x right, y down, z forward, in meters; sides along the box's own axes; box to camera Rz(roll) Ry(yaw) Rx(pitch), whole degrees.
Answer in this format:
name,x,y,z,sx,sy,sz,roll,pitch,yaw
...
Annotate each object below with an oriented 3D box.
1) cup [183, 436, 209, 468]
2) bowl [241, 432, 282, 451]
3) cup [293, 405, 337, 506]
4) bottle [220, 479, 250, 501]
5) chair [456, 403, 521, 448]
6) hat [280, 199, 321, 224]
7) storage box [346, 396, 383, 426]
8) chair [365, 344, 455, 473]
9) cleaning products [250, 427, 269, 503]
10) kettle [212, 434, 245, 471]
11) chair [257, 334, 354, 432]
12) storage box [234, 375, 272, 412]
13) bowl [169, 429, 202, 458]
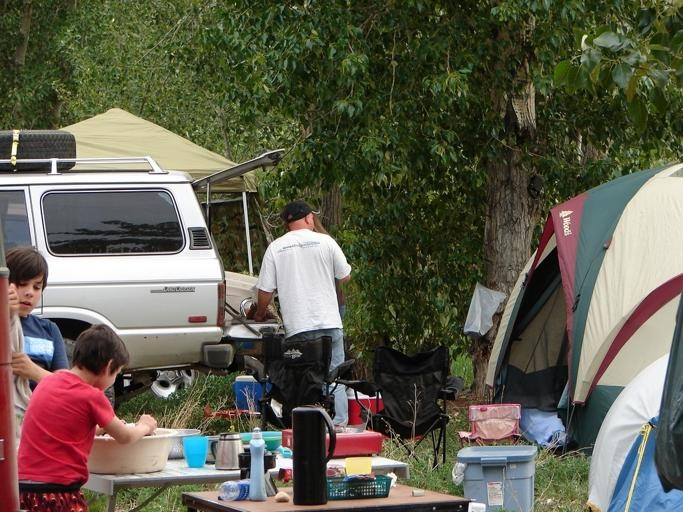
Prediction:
name,x,y,z,sx,sy,sz,roll,pitch,yaw
cup,-0.948,1.284,6.687,0.163,0.212,0.179,-1,-8,0
bowl,-0.492,1.232,6.861,0.185,0.069,0.205,-1,1,24
cup,-0.163,1.168,5.938,0.242,0.526,0.210,0,8,-2
bottle,-0.627,1.385,6.080,0.119,0.133,0.192,-19,-7,14
chair,1.537,1.705,10.679,0.446,0.337,0.486,-3,-4,-10
hat,-0.411,-0.410,10.274,0.269,0.154,0.202,-27,23,-24
storage box,0.234,1.606,10.659,0.245,0.381,0.465,-3,-4,37
chair,0.706,1.571,10.369,1.023,1.487,0.974,-1,-8,2
cleaning products,-0.506,1.240,6.088,0.159,0.422,0.164,-2,4,-32
kettle,-0.740,1.277,6.614,0.210,0.243,0.177,-6,-8,43
chair,-0.391,1.180,10.012,0.852,1.102,0.797,0,-2,12
storage box,-0.960,1.481,10.893,0.431,0.506,0.283,0,0,-5
bowl,-1.073,1.273,6.943,0.189,0.134,0.190,0,2,0
